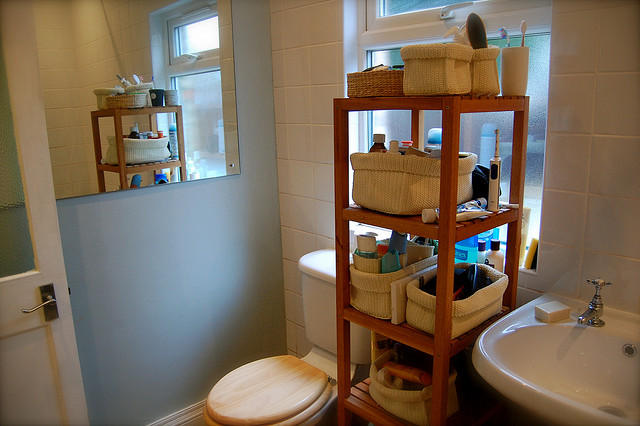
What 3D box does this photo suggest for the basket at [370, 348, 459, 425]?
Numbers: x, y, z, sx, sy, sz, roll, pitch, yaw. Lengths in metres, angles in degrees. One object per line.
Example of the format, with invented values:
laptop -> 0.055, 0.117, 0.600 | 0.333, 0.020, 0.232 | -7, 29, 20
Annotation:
basket -> 0.325, 0.664, 1.832 | 0.217, 0.099, 0.252 | -4, 3, -44

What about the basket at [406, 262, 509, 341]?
basket -> 0.528, 0.324, 1.799 | 0.389, 0.213, 0.200 | -12, 15, -36

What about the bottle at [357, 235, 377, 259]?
bottle -> 0.181, 0.135, 1.886 | 0.085, 0.092, 0.084 | -5, 2, -38

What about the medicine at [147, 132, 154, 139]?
medicine -> -0.812, -0.370, 2.258 | 0.027, 0.029, 0.021 | -1, 8, -7

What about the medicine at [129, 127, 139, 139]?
medicine -> -0.871, -0.373, 2.211 | 0.046, 0.052, 0.045 | 1, 8, 9

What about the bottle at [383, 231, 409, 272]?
bottle -> 0.291, 0.140, 1.829 | 0.116, 0.150, 0.076 | -5, 13, -8

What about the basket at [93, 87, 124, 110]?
basket -> -0.964, -0.517, 2.161 | 0.087, 0.087, 0.121 | 7, 15, 40

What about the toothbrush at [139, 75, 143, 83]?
toothbrush -> -0.834, -0.626, 2.207 | 0.015, 0.029, 0.009 | -10, 14, -28

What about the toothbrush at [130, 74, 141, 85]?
toothbrush -> -0.856, -0.622, 2.194 | 0.042, 0.040, 0.013 | -12, 15, -37

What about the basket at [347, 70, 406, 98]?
basket -> 0.202, -0.454, 1.722 | 0.154, 0.055, 0.115 | -4, 11, -19

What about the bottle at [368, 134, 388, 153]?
bottle -> 0.224, -0.276, 1.870 | 0.079, 0.086, 0.078 | -2, 10, -23

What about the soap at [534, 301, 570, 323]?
soap -> 0.846, 0.346, 1.737 | 0.093, 0.032, 0.066 | -11, 20, -24

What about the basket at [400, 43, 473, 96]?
basket -> 0.409, -0.506, 1.684 | 0.235, 0.163, 0.210 | 9, 16, 32

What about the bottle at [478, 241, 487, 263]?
bottle -> 0.662, 0.160, 1.932 | 0.033, 0.084, 0.034 | -3, 13, 1

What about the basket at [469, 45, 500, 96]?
basket -> 0.591, -0.509, 1.696 | 0.148, 0.175, 0.051 | -12, 15, -35

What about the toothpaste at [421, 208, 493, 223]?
toothpaste -> 0.506, -0.001, 1.697 | 0.296, 0.054, 0.061 | -8, 13, -23

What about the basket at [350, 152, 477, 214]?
basket -> 0.299, -0.139, 1.923 | 0.588, 0.247, 0.455 | 6, 11, 18

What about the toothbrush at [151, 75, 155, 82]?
toothbrush -> -0.790, -0.635, 2.234 | 0.019, 0.032, 0.007 | -12, 15, -34

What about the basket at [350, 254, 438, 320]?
basket -> 0.269, 0.261, 1.875 | 0.226, 0.133, 0.311 | 7, 9, 41

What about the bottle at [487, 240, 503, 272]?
bottle -> 0.707, 0.167, 1.912 | 0.063, 0.125, 0.071 | 5, 15, 31

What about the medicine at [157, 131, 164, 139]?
medicine -> -0.773, -0.380, 2.289 | 0.031, 0.032, 0.030 | -2, 6, -26

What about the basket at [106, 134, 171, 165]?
basket -> -0.854, -0.302, 2.229 | 0.201, 0.083, 0.140 | -11, 14, -43

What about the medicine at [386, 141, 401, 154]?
medicine -> 0.288, -0.255, 1.840 | 0.063, 0.059, 0.062 | 2, 9, 3
